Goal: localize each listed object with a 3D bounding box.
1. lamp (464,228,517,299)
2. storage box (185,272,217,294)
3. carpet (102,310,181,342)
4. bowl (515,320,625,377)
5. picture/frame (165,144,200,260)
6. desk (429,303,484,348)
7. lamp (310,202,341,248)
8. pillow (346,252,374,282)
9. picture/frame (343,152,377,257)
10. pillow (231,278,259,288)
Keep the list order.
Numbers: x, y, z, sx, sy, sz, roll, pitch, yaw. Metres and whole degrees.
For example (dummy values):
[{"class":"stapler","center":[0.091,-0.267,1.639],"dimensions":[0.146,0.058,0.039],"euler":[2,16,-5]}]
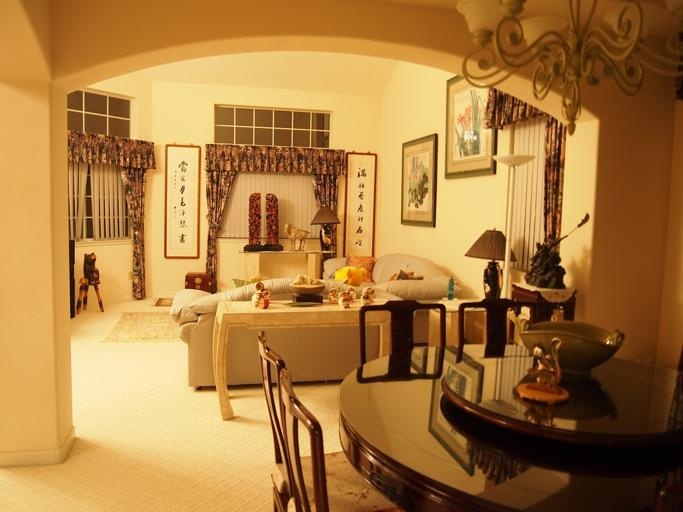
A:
[{"class":"lamp","center":[1.394,0.069,4.996],"dimensions":[0.357,0.649,0.709],"euler":[3,9,15]},{"class":"storage box","center":[-2.193,0.400,8.093],"dimensions":[0.451,0.346,0.476],"euler":[0,9,-15]},{"class":"carpet","center":[-2.520,0.893,6.663],"dimensions":[0.814,0.065,1.561],"euler":[-3,10,-17]},{"class":"bowl","center":[1.076,0.436,2.463],"dimensions":[0.409,0.234,0.468],"euler":[-1,3,-15]},{"class":"picture/frame","center":[-2.544,-0.876,8.328],"dimensions":[0.558,1.785,0.253],"euler":[0,9,-1]},{"class":"desk","center":[1.220,0.668,5.078],"dimensions":[0.242,0.350,0.347],"euler":[-7,-8,-18]},{"class":"lamp","center":[-0.253,-0.472,8.566],"dimensions":[0.431,0.750,0.656],"euler":[0,9,0]},{"class":"pillow","center":[0.264,0.163,7.251],"dimensions":[0.369,0.415,0.154],"euler":[2,-22,13]},{"class":"picture/frame","center":[0.335,-0.899,8.878],"dimensions":[0.563,1.750,0.316],"euler":[0,9,-1]},{"class":"pillow","center":[-0.976,0.270,5.278],"dimensions":[0.177,0.060,0.177],"euler":[-6,11,-40]}]
